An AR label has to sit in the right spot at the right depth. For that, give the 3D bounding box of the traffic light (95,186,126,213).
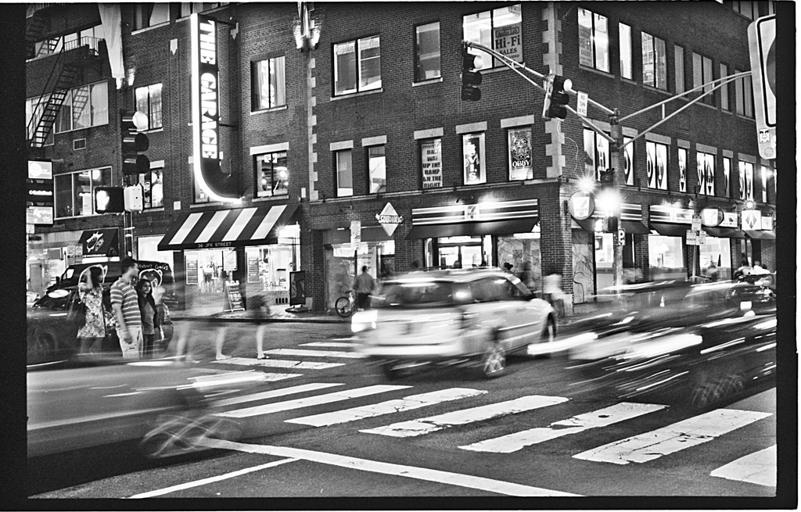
[{"bbox_3d":[-8.883,-1.782,26.605,0.626,0.981,2.249,1,-5,-24],"label":"traffic light"}]

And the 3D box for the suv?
[{"bbox_3d":[1.410,1.431,19.185,3.960,2.368,1.603,2,-5,-34],"label":"suv"}]

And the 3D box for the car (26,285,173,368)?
[{"bbox_3d":[-7.252,1.488,19.610,2.081,1.684,3.714,-5,-8,37],"label":"car"}]

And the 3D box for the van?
[{"bbox_3d":[-8.925,0.781,26.139,3.377,1.261,1.269,-6,-2,7],"label":"van"}]

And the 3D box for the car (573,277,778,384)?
[{"bbox_3d":[5.970,1.348,17.420,3.395,1.247,2.061,-8,6,-38],"label":"car"}]

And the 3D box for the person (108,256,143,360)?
[{"bbox_3d":[-5.519,1.003,17.621,0.583,1.953,0.926,0,-5,-17],"label":"person"}]
